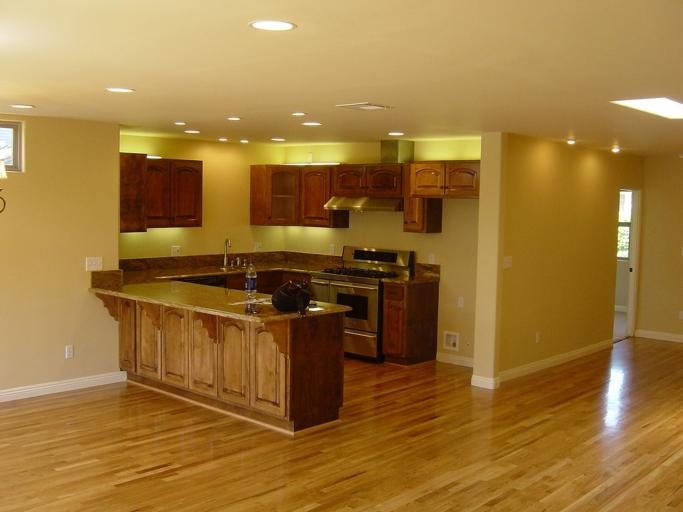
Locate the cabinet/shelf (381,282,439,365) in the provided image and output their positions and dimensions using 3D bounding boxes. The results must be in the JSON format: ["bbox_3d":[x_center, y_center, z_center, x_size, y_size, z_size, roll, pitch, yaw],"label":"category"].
[{"bbox_3d":[0.993,0.887,7.189,0.843,1.148,0.345,-1,6,-26],"label":"cabinet/shelf"}]

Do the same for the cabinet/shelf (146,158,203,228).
[{"bbox_3d":[-2.396,-0.888,7.357,0.419,0.873,1.107,2,3,40],"label":"cabinet/shelf"}]

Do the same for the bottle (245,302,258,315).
[{"bbox_3d":[-0.817,0.466,4.696,0.097,0.093,0.094,7,10,39],"label":"bottle"}]

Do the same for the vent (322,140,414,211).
[{"bbox_3d":[0.448,-1.197,7.703,1.308,0.966,0.752,8,18,43],"label":"vent"}]

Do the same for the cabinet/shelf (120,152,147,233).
[{"bbox_3d":[-2.689,-0.812,6.721,0.338,0.978,0.151,-2,6,-27],"label":"cabinet/shelf"}]

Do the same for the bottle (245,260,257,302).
[{"bbox_3d":[-0.891,0.282,5.157,0.089,0.295,0.408,0,5,-12],"label":"bottle"}]

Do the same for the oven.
[{"bbox_3d":[0.284,0.837,7.726,1.267,1.166,0.870,5,6,45],"label":"oven"}]

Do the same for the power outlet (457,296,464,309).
[{"bbox_3d":[1.643,0.623,7.218,0.090,0.161,0.008,4,6,34],"label":"power outlet"}]

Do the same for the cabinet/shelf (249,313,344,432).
[{"bbox_3d":[-0.583,1.054,5.115,0.817,1.006,0.960,-2,-2,43],"label":"cabinet/shelf"}]
